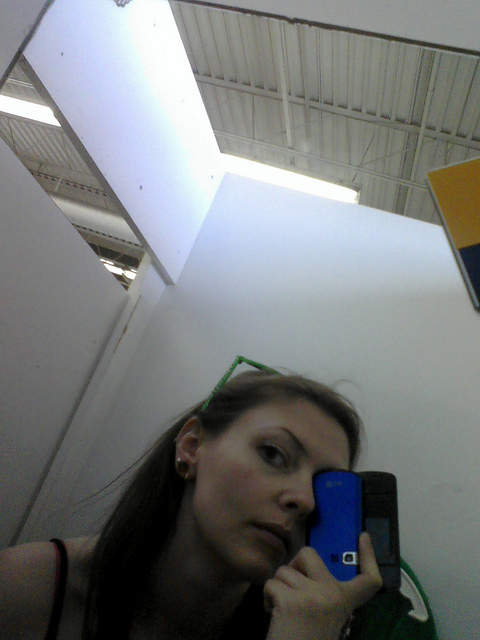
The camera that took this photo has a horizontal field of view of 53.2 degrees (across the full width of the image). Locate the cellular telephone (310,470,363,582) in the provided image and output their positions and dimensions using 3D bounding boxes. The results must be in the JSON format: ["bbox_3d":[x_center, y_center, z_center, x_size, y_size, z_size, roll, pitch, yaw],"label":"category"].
[{"bbox_3d":[0.231,0.501,1.151,0.142,0.344,0.052,13,-46,-7],"label":"cellular telephone"}]

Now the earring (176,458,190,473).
[{"bbox_3d":[-0.158,0.396,1.310,0.027,0.041,0.015,-23,-16,30],"label":"earring"}]
